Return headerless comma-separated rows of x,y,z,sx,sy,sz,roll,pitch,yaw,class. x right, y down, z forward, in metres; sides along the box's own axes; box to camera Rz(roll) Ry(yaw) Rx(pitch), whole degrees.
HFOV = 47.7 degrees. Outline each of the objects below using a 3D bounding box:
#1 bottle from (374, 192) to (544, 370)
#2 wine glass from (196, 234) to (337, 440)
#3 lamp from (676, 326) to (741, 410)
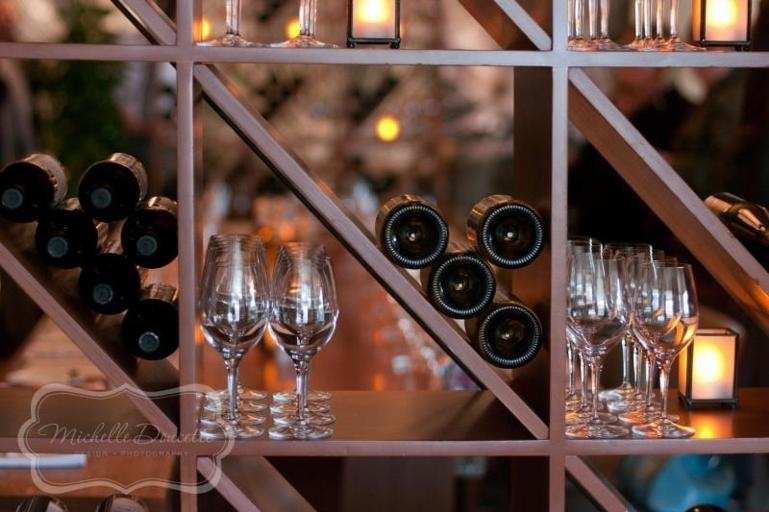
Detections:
0.183,0.044,2.101,0.409,0.324,0.295,0,-47,0,bottle
-0.284,0.221,2.120,0.334,0.382,0.410,3,-47,-2,wine glass
0.845,0.291,2.252,0.156,0.169,0.258,1,-91,1,lamp
